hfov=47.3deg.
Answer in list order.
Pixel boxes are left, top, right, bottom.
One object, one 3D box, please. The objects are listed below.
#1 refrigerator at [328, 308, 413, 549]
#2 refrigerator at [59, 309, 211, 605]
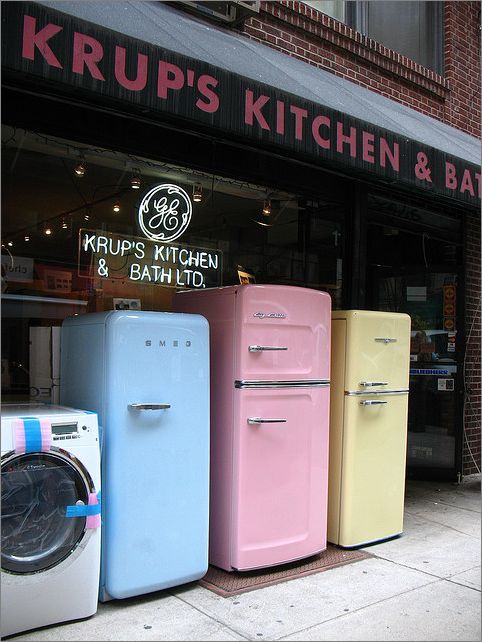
[{"bbox_3d":[0.875,0.793,4.321,0.791,1.673,0.908,3,0,-7],"label":"refrigerator"},{"bbox_3d":[-0.553,0.712,3.002,0.797,1.532,0.460,3,-4,-14],"label":"refrigerator"}]
